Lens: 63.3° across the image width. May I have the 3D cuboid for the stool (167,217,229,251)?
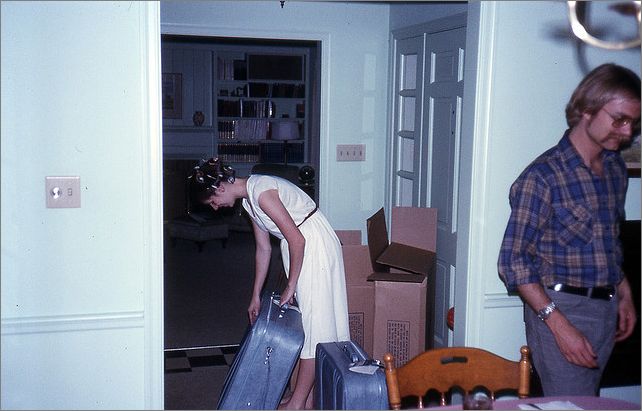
[{"bbox_3d":[-1.836,0.388,7.786,0.565,0.405,0.817,6,3,14],"label":"stool"}]

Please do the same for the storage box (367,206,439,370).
[{"bbox_3d":[0.585,0.601,3.769,0.508,1.509,0.965,0,8,13],"label":"storage box"}]

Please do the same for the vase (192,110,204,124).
[{"bbox_3d":[-2.196,-1.567,9.283,0.200,0.251,0.207,2,-3,-2],"label":"vase"}]

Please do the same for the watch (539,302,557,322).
[{"bbox_3d":[1.092,0.510,2.523,0.039,0.059,0.062,43,-15,31],"label":"watch"}]

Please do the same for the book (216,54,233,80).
[{"bbox_3d":[-1.741,-2.462,9.380,0.350,0.534,0.368,1,16,1],"label":"book"}]
